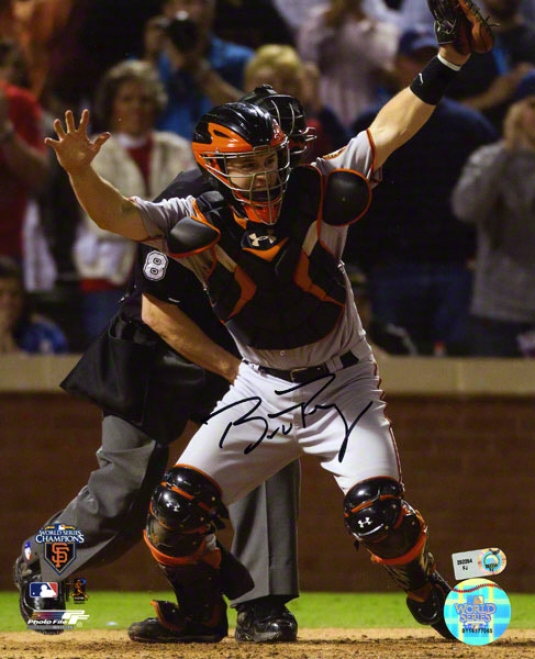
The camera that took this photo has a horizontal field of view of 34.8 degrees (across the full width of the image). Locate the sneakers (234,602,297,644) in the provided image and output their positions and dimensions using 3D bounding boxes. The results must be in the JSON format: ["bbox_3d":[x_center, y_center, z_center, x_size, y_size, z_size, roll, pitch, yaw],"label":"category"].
[{"bbox_3d":[-0.008,0.908,2.656,0.108,0.074,0.210,6,-13,-27],"label":"sneakers"}]

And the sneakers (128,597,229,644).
[{"bbox_3d":[-0.254,0.881,2.597,0.334,0.108,0.114,-10,1,17],"label":"sneakers"}]
